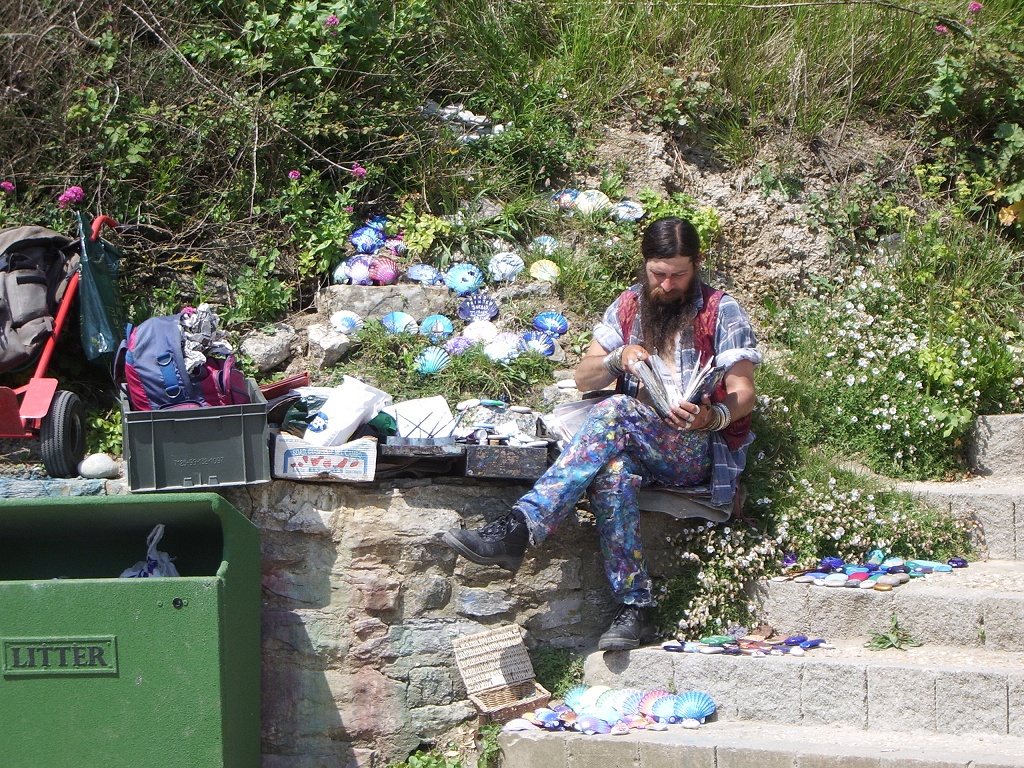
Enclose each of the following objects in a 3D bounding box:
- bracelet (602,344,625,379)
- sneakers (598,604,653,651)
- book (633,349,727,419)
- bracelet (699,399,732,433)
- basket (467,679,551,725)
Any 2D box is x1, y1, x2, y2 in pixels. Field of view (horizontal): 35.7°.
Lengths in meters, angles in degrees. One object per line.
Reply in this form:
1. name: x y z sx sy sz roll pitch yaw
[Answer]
1. bracelet: 0.624 -0.136 9.751 0.134 0.147 0.146 -6 -20 39
2. sneakers: 0.701 1.496 9.678 0.164 0.203 0.439 0 -5 28
3. book: 0.924 -0.024 9.469 0.388 0.399 0.133 -36 16 -2
4. bracelet: 1.225 0.192 9.575 0.155 0.165 0.081 8 15 -26
5. basket: 0.000 1.922 9.652 0.396 0.136 0.242 -10 19 -23
